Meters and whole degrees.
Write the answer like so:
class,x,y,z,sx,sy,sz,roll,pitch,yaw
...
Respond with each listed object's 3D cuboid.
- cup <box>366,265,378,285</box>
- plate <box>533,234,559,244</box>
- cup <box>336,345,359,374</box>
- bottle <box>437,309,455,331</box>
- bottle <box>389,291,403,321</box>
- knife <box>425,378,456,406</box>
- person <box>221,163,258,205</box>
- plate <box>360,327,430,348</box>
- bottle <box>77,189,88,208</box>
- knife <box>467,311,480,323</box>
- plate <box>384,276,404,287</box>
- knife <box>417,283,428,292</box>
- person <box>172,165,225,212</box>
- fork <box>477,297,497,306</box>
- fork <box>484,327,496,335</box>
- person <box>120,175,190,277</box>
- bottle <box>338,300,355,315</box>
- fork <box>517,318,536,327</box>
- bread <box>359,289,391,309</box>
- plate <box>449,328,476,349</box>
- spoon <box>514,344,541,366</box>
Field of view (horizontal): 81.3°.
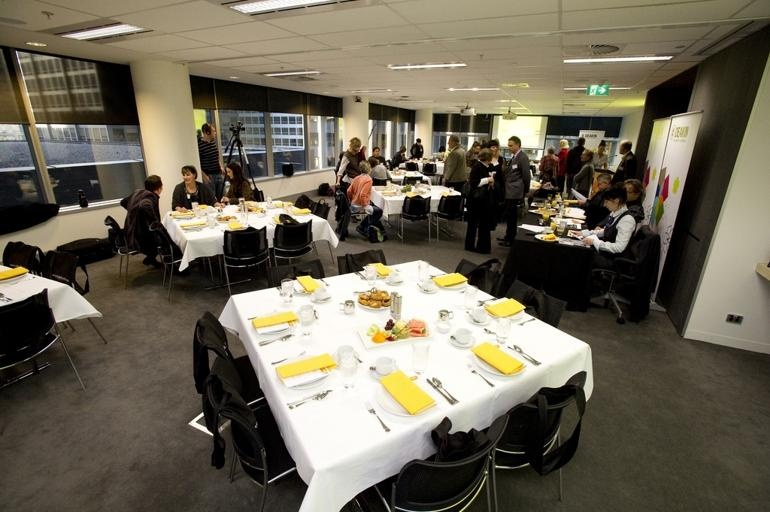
class,x,y,z,sx,sy,sz,roll,pitch,yaw
cup,-0.149,0.199,4.788,0.111,0.189,0.189,-2,18,-4
plate,2.210,-0.256,6.093,0.308,0.081,0.221,9,21,22
cup,-0.309,0.855,3.832,0.139,0.196,0.224,10,20,22
bottle,0.583,0.613,4.340,0.126,0.217,0.215,1,8,-14
bottle,0.105,0.485,4.338,0.090,0.261,0.194,-2,16,-20
knife,0.470,1.121,3.790,0.100,0.050,0.332,-13,36,-29
person,-2.553,-1.235,7.820,0.667,0.777,0.541,-10,15,-32
plate,0.039,0.750,4.138,0.403,0.058,0.249,-7,22,-17
bottle,-5.128,-0.985,7.591,0.140,0.282,0.333,-13,24,-33
knife,0.869,0.588,4.364,0.113,0.084,0.073,1,24,31
plate,0.099,0.243,4.855,0.128,0.060,0.130,17,27,41
knife,0.408,0.329,4.775,0.079,0.036,0.079,-13,22,-26
person,-3.240,-1.155,7.660,0.569,0.968,0.690,26,32,37
fork,1.057,0.458,4.643,0.079,0.044,0.244,39,37,29
fork,1.004,0.713,4.289,0.027,0.038,0.149,40,0,-25
person,-3.473,-0.408,6.785,0.892,1.562,0.889,29,35,17
bottle,-0.367,0.508,4.411,0.156,0.110,0.098,2,6,35
fork,1.396,0.636,4.403,0.251,0.012,0.069,-14,42,-26
bread,-0.113,0.418,4.500,0.217,0.081,0.214,-6,15,-36
plate,0.727,0.762,4.128,0.185,0.085,0.184,-13,20,-28
spoon,1.286,0.891,4.041,0.084,0.045,0.313,-12,28,-19
